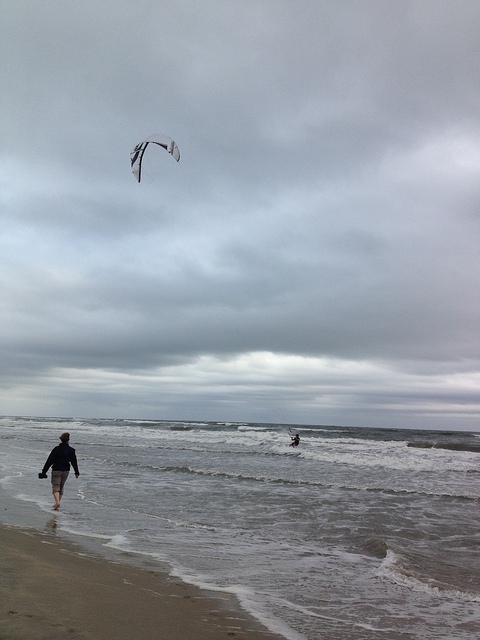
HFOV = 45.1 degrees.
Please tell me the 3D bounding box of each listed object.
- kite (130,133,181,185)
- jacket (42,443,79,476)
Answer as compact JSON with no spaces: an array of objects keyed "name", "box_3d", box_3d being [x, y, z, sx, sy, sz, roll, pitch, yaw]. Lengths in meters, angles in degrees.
[{"name":"kite","box_3d":[-1.636,-2.990,10.714,0.944,0.903,0.534,0,-6,7]},{"name":"jacket","box_3d":[-3.622,2.759,11.532,0.664,0.626,0.713,4,-6,-26]}]
